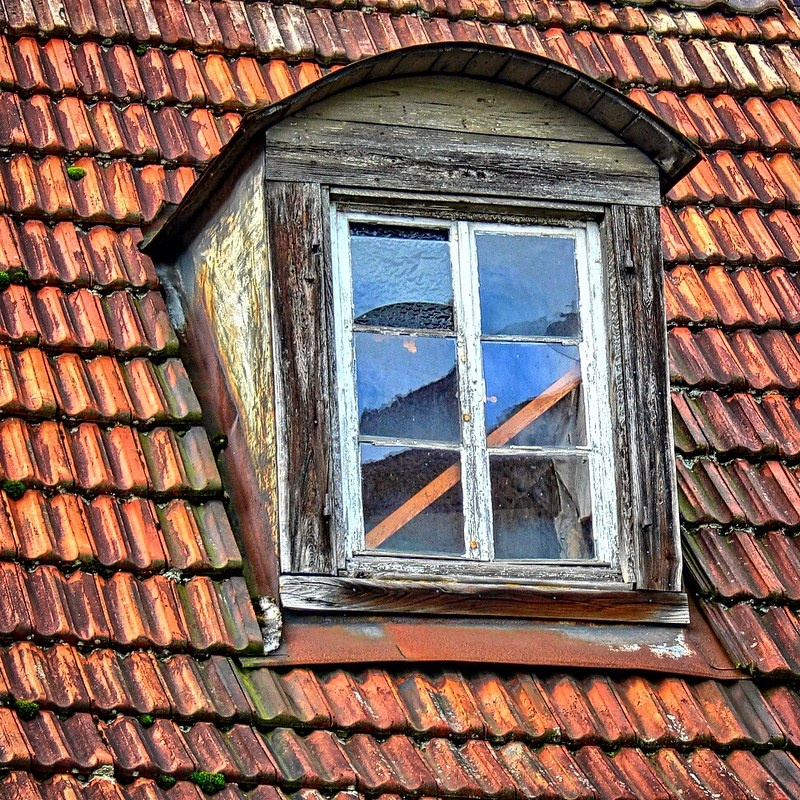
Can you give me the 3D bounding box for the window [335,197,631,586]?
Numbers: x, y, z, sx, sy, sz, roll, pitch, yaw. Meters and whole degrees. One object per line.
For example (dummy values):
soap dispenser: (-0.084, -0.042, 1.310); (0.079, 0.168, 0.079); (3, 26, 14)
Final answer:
window: (0.276, -0.075, 9.751); (1.027, 1.597, 0.057); (3, -33, -7)
